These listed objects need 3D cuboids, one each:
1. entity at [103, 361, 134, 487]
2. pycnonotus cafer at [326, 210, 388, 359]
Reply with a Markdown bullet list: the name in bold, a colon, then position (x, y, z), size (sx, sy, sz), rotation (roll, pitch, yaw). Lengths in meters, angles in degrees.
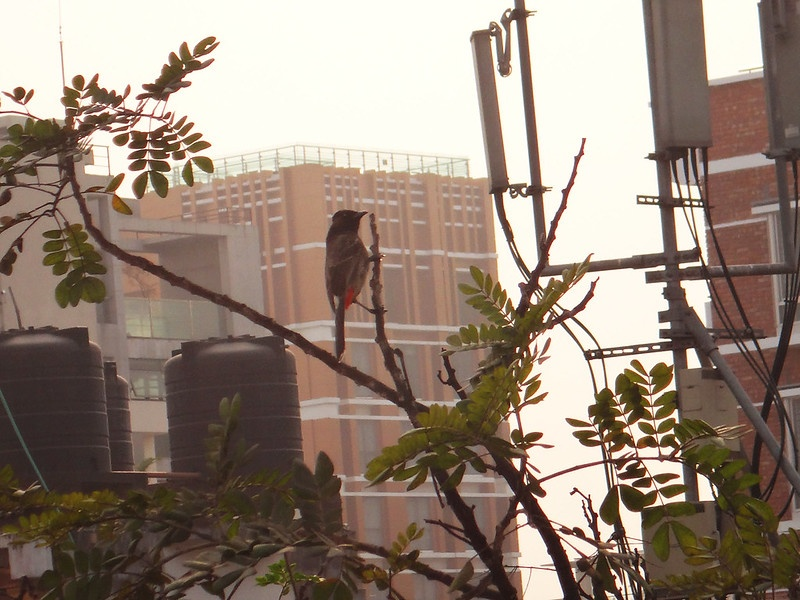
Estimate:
- **entity**: position (-3.381, 1.546, 25.928), size (0.355, 1.467, 0.358), rotation (-4, -2, -22)
- **pycnonotus cafer**: position (-0.350, -0.110, 15.036), size (0.318, 1.491, 0.646), rotation (-4, -29, -2)
